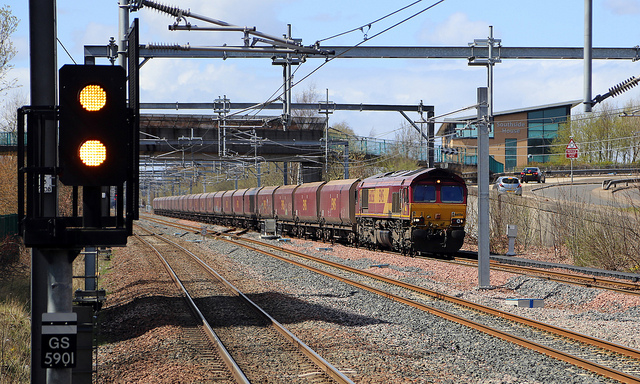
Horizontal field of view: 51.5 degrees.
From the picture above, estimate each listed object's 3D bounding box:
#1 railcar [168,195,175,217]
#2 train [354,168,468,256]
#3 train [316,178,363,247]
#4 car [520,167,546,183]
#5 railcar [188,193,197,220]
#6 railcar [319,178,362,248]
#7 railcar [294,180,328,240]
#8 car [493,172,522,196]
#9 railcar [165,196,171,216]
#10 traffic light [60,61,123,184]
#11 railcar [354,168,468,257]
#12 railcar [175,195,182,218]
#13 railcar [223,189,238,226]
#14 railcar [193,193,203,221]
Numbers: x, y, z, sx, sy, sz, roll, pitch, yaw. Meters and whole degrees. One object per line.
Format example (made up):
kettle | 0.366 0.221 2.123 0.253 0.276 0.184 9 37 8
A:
railcar | -20.580 2.013 91.403 1.442 2.785 2.742 -1 4 -17
train | 4.344 1.019 35.043 3.174 4.129 9.383 1 0 -16
train | 1.367 1.163 38.985 1.625 3.371 5.364 4 -2 -20
car | 19.312 -1.540 60.527 1.635 1.237 2.785 0 1 10
railcar | -14.667 1.711 75.870 0.493 2.076 2.971 1 -2 -15
railcar | 1.246 1.259 37.996 2.419 3.888 5.955 0 -2 -6
railcar | -0.550 1.186 41.681 1.980 3.377 3.527 2 -3 -24
car | 13.836 -0.502 48.623 1.431 1.170 2.346 1 2 -2
railcar | -21.827 2.057 94.778 1.387 2.720 2.659 1 3 -8
traffic light | -4.617 -1.381 13.430 1.260 2.419 0.237 -2 3 -3
railcar | 4.463 0.995 35.054 3.143 4.126 9.353 2 0 -15
railcar | -18.240 1.833 85.019 1.474 2.653 2.804 0 1 -9
railcar | -8.018 1.445 59.131 1.664 3.219 3.100 2 -3 -24
railcar | -13.381 1.658 72.523 1.623 3.113 3.073 0 0 -13
